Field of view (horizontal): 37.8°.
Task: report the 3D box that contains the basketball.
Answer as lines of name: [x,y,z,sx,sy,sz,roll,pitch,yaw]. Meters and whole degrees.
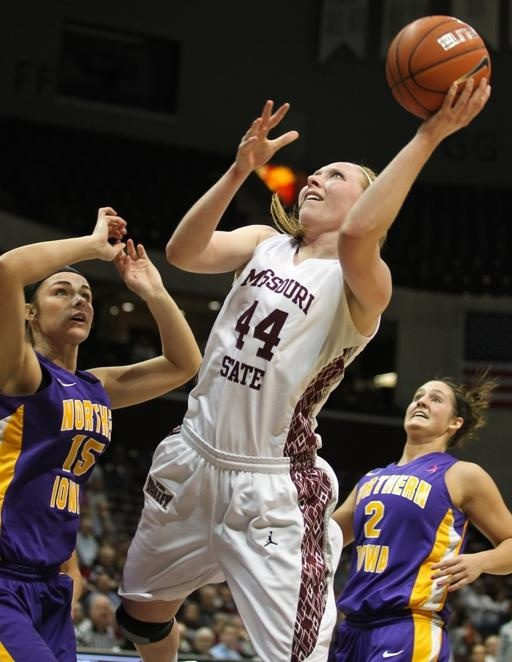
basketball: [0.629,-0.932,2.614,0.370,0.456,0.247,5,-3,21]
